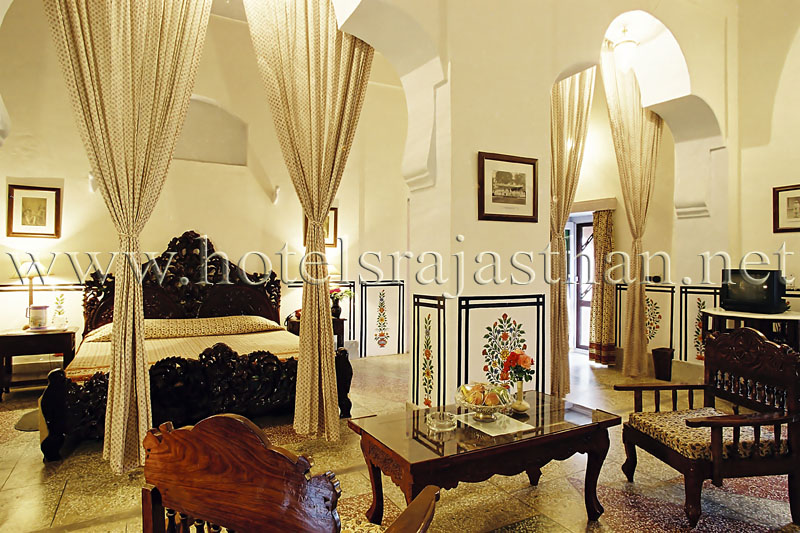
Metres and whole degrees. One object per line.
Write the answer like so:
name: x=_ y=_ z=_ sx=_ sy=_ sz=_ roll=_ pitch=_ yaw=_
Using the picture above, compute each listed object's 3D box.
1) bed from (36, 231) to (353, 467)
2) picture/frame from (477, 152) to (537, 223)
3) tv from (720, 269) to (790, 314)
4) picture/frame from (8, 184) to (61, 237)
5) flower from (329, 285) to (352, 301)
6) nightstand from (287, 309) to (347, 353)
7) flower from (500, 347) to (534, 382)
bed: x=-2.611 y=0.946 z=5.923 sx=2.716 sy=2.015 sz=2.651 roll=0 pitch=-1 yaw=-25
picture/frame: x=1.005 y=-0.773 z=4.791 sx=0.671 sy=0.713 sz=0.046 roll=1 pitch=-2 yaw=-27
tv: x=4.004 y=0.282 z=5.672 sx=0.426 sy=0.679 sz=0.780 roll=4 pitch=-4 yaw=-31
picture/frame: x=-4.701 y=-0.714 z=6.332 sx=0.653 sy=0.839 sz=0.062 roll=-1 pitch=0 yaw=-27
flower: x=-0.923 y=0.411 z=7.738 sx=0.230 sy=0.203 sz=0.234 roll=0 pitch=3 yaw=-18
nightstand: x=-1.266 y=0.928 z=7.514 sx=0.816 sy=0.808 sz=0.634 roll=0 pitch=1 yaw=-20
flower: x=0.932 y=0.796 z=3.922 sx=0.215 sy=0.203 sz=0.283 roll=-2 pitch=-1 yaw=20
